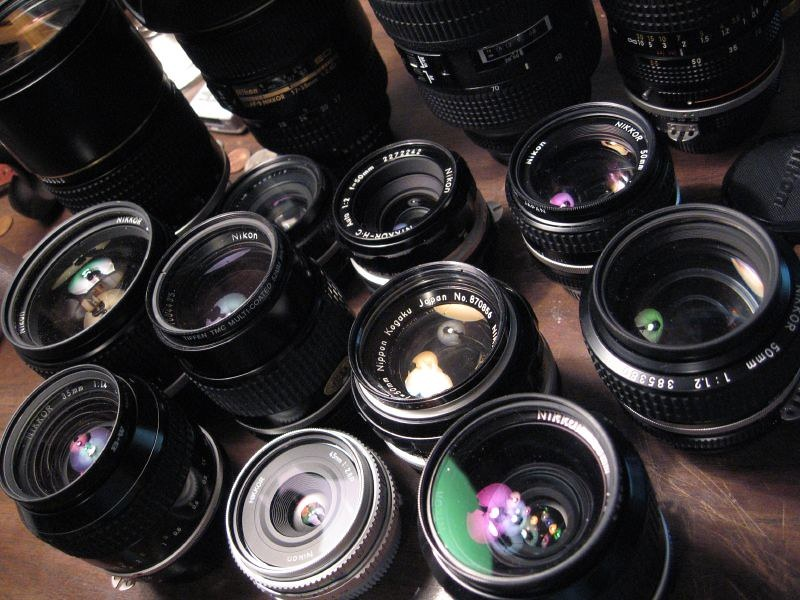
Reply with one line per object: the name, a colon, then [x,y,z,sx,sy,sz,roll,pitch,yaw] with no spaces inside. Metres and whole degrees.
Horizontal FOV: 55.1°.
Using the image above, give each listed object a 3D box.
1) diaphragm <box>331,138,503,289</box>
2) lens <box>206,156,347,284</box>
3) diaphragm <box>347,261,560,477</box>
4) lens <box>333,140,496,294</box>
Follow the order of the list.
diaphragm: [0.048,-0.157,1.851,0.329,0.339,0.367,-17,54,18]
lens: [-0.259,-0.243,1.920,0.307,0.190,0.327,24,67,31]
diaphragm: [0.117,0.143,1.629,0.389,0.390,0.413,-29,46,13]
lens: [0.045,-0.134,1.843,0.329,0.301,0.363,-20,52,16]
